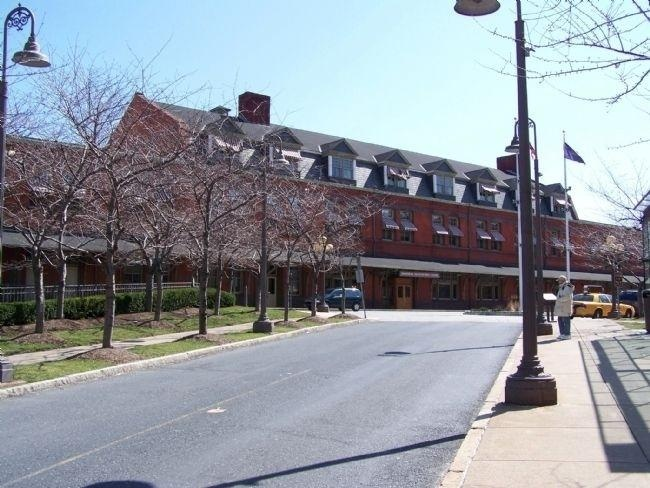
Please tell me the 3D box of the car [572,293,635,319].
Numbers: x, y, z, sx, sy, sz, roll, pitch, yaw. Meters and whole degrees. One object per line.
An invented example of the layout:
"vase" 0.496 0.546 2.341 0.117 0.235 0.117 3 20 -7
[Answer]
"car" 17.161 3.896 34.989 4.354 1.289 1.895 0 -2 -33
